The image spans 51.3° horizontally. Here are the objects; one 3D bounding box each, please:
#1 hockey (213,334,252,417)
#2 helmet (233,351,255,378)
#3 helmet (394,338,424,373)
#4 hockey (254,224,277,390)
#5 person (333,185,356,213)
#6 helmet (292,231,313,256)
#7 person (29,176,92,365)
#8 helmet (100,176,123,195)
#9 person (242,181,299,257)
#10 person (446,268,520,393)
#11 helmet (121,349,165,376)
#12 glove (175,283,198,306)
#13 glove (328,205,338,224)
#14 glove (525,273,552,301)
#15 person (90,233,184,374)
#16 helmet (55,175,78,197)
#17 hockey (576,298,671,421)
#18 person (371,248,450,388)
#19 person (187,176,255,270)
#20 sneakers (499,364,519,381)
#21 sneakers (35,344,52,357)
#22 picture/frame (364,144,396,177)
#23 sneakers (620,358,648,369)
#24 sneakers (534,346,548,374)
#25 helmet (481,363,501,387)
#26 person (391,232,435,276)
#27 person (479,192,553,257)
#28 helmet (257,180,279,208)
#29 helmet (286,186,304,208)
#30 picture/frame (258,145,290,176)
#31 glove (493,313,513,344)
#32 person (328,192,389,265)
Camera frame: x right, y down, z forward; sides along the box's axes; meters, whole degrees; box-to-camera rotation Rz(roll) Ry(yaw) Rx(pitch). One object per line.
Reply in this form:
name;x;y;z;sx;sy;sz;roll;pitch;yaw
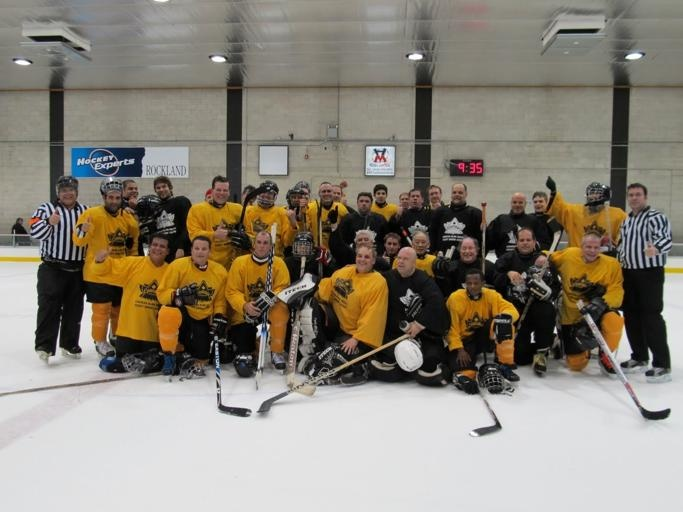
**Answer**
hockey;-1.233;1.289;7.724;0.429;0.126;1.080;13;39;-22
helmet;-1.109;1.265;8.151;0.203;0.232;0.251;10;-2;1
helmet;0.752;1.077;7.889;0.264;0.368;0.323;-14;-8;9
hockey;-0.843;0.553;8.205;0.207;1.970;0.096;-2;-16;30
person;-0.012;-0.963;11.512;0.286;0.329;1.074;5;8;-8
helmet;-0.461;-0.144;8.512;0.212;0.253;0.265;4;-8;4
person;-3.397;0.136;8.536;0.612;2.208;0.473;0;3;-22
helmet;-2.815;-0.857;8.670;0.271;0.215;0.215;1;2;-2
person;-0.933;-0.261;9.160;0.846;1.291;0.675;-2;-11;6
person;1.603;0.804;8.114;0.768;1.273;1.189;-5;10;-9
helmet;-2.300;1.223;8.176;0.445;0.269;0.228;1;2;12
glove;-1.750;0.436;8.031;0.242;0.199;0.237;0;5;-9
glove;-0.120;-0.572;9.739;0.131;0.247;0.375;1;2;-2
glove;2.299;0.372;8.438;0.266;0.255;0.321;-15;10;-11
person;-2.411;0.598;8.336;1.448;1.987;0.764;1;-8;-8
helmet;-3.352;-0.863;8.702;0.202;0.240;0.245;-1;-7;-23
hockey;2.943;1.078;7.906;0.337;2.043;0.366;2;-42;-18
person;0.749;0.677;8.158;1.065;1.535;1.003;8;22;32
person;-1.535;-0.284;9.111;0.794;1.412;0.682;-3;17;-16
sneakers;1.890;1.326;8.043;0.288;0.205;0.194;1;2;-1
sneakers;-3.507;1.127;8.370;0.083;0.109;0.223;-18;44;-36
picture/frame;0.933;-2.242;16.715;0.736;0.722;0.077;0;0;3
sneakers;3.461;1.288;8.447;0.309;0.140;0.131;3;-7;4
sneakers;2.347;1.244;8.344;0.117;0.159;0.363;1;12;11
helmet;1.643;1.329;7.852;0.238;0.233;0.211;1;2;10
person;0.979;-0.032;8.913;0.706;0.532;0.336;7;3;4
person;2.465;-0.433;10.026;1.062;1.314;0.862;0;4;15
helmet;-0.932;-0.823;9.063;0.261;0.345;0.351;10;-20;2
helmet;-0.595;-0.765;9.065;0.245;0.328;0.238;0;-7;-2
picture/frame;-1.601;-2.312;16.998;0.713;0.756;0.096;0;0;1
glove;1.809;0.816;7.976;0.228;0.329;0.183;1;2;6
person;0.309;-0.075;9.785;0.906;1.561;0.396;-2;12;-13
